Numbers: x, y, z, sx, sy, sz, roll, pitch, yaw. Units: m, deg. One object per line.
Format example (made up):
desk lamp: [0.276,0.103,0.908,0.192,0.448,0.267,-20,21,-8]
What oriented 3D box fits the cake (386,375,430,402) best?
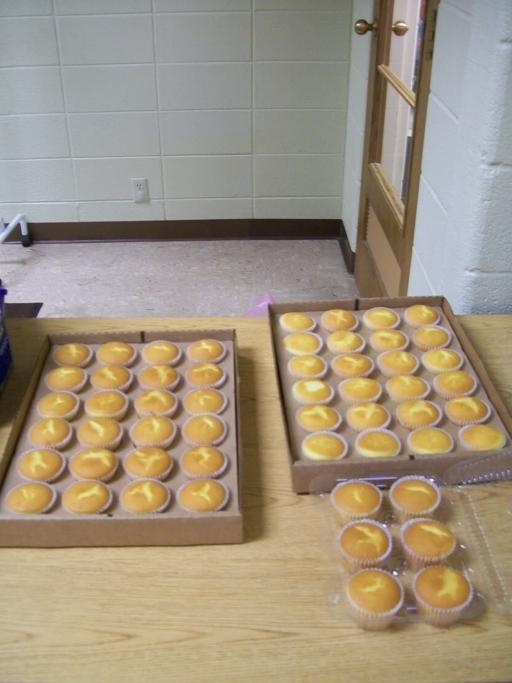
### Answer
cake: [0.236,0.071,0.824,0.045,0.023,0.045,-23,40,-30]

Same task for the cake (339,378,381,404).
cake: [0.162,0.073,0.822,0.046,0.022,0.042,-8,42,-7]

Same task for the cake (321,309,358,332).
cake: [0.158,-0.038,0.976,0.047,0.022,0.044,5,46,3]

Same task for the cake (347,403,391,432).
cake: [0.163,0.108,0.767,0.046,0.021,0.042,-7,45,-4]

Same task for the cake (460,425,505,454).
cake: [0.305,0.125,0.718,0.039,0.019,0.036,-17,35,-18]

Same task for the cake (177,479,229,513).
cake: [-0.064,0.185,0.647,0.040,0.020,0.039,-1,27,5]

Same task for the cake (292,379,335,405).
cake: [0.087,0.067,0.816,0.042,0.022,0.043,32,39,28]

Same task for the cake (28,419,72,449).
cake: [-0.286,0.128,0.751,0.045,0.024,0.043,32,37,34]

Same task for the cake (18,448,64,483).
cake: [-0.279,0.160,0.703,0.043,0.022,0.043,30,40,21]

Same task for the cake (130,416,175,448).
cake: [-0.144,0.125,0.754,0.048,0.021,0.045,-3,33,-11]

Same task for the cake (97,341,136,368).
cake: [-0.239,0.020,0.904,0.047,0.024,0.047,18,40,12]

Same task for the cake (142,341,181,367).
cake: [-0.159,0.021,0.890,0.046,0.022,0.044,4,44,-2]

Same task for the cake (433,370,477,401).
cake: [0.302,0.066,0.818,0.048,0.025,0.046,-4,33,2]

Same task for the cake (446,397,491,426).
cake: [0.301,0.099,0.766,0.045,0.022,0.043,-2,35,2]

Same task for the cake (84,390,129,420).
cake: [-0.226,0.093,0.803,0.046,0.022,0.047,25,44,19]

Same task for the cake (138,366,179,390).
cake: [-0.152,0.057,0.854,0.045,0.021,0.040,8,51,-2]

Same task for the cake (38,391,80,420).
cake: [-0.290,0.094,0.803,0.046,0.023,0.041,-9,49,-25]

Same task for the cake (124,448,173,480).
cake: [-0.139,0.158,0.704,0.044,0.021,0.041,-10,50,-14]

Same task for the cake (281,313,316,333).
cake: [0.082,-0.035,0.974,0.043,0.023,0.043,-18,43,-35]

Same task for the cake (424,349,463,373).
cake: [0.299,0.032,0.870,0.045,0.022,0.042,-4,37,2]

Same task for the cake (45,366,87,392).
cake: [-0.297,0.060,0.852,0.046,0.022,0.043,-11,41,-25]

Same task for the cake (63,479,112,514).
cake: [-0.208,0.187,0.654,0.040,0.018,0.038,-13,29,-38]

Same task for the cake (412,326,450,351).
cake: [0.301,-0.006,0.920,0.048,0.025,0.044,-18,41,-9]

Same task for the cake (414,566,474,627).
cake: [0.187,0.251,0.542,0.050,0.026,0.048,-3,33,4]

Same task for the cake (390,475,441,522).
cake: [0.196,0.187,0.648,0.050,0.034,0.047,-5,40,4]

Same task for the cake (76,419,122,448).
cake: [-0.220,0.127,0.752,0.044,0.020,0.044,7,33,2]

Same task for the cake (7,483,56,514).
cake: [-0.276,0.188,0.650,0.039,0.012,0.036,-5,43,-21]

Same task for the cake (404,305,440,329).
cake: [0.299,-0.045,0.972,0.045,0.024,0.044,17,49,23]

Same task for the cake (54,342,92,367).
cake: [-0.306,0.023,0.903,0.047,0.022,0.043,14,40,9]

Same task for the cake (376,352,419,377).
cake: [0.230,0.035,0.872,0.047,0.026,0.046,21,46,25]

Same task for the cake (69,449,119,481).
cake: [-0.215,0.157,0.701,0.044,0.020,0.041,-18,46,-31]
